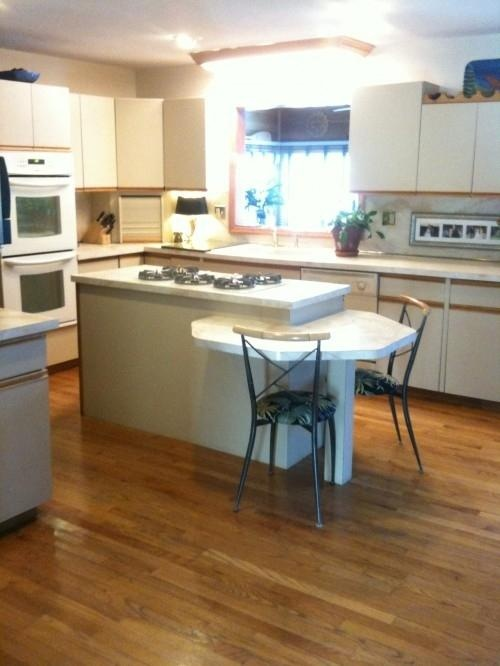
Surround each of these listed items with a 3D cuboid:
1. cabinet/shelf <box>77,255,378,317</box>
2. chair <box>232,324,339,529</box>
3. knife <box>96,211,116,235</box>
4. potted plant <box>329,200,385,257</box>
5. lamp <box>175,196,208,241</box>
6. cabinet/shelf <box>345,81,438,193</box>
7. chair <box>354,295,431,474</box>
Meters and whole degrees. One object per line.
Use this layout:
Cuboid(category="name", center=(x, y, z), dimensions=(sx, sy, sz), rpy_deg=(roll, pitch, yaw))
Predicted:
Cuboid(category="cabinet/shelf", center=(-0.190, -0.229, 2.954), dimensions=(1.306, 0.221, 0.595), rpy_deg=(6, 10, 33))
Cuboid(category="chair", center=(0.140, 0.351, 2.305), dimensions=(0.422, 0.694, 0.387), rpy_deg=(-2, 2, 6))
Cuboid(category="knife", center=(-1.358, -1.034, 5.060), dimensions=(0.144, 0.214, 0.127), rpy_deg=(6, 10, 33))
Cuboid(category="potted plant", center=(0.777, -0.800, 4.247), dimensions=(0.356, 0.349, 0.429), rpy_deg=(-8, 16, -29))
Cuboid(category="lamp", center=(-0.546, -1.095, 5.084), dimensions=(0.302, 0.379, 0.365), rpy_deg=(0, 9, -2))
Cuboid(category="cabinet/shelf", center=(1.018, -1.459, 3.964), dimensions=(0.544, 0.710, 0.579), rpy_deg=(-3, 43, 9))
Cuboid(category="chair", center=(0.604, 0.246, 2.729), dimensions=(0.512, 0.792, 0.498), rpy_deg=(4, 7, 18))
